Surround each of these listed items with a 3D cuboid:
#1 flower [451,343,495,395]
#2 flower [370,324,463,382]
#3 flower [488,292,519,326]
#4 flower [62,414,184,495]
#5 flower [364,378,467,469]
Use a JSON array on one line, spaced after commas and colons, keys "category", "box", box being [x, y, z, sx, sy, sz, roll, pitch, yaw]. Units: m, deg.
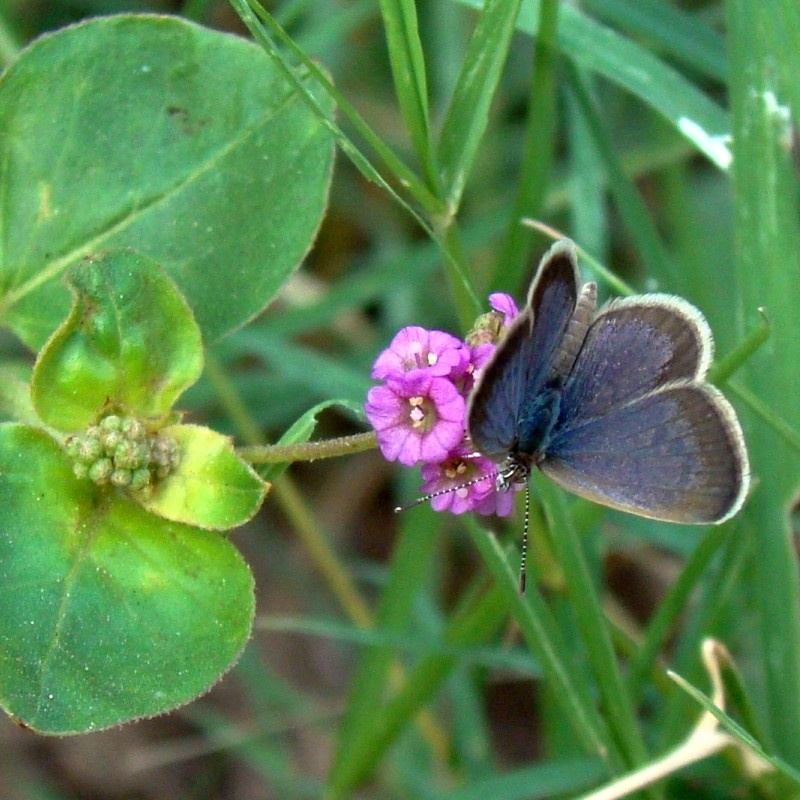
[{"category": "flower", "box": [0.160, -0.072, 2.218, 0.093, 0.043, 0.119, 32, 84, -7]}, {"category": "flower", "box": [0.047, -0.134, 2.267, 0.205, 0.226, 0.107, -2, 98, -4]}, {"category": "flower", "box": [0.234, -0.222, 2.293, 0.030, 0.091, 0.085, -26, 105, 13]}, {"category": "flower", "box": [-0.627, 0.098, 2.201, 0.207, 0.101, 0.166, 17, 48, 30]}, {"category": "flower", "box": [0.035, 0.035, 2.111, 0.209, 0.092, 0.169, -15, 61, 3]}]
